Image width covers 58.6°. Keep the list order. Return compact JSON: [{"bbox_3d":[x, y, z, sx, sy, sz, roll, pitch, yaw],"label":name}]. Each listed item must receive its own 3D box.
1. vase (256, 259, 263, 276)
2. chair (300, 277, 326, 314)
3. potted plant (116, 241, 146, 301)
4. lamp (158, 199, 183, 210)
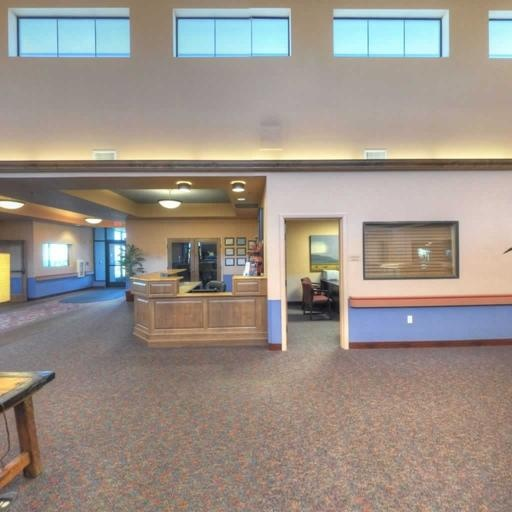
[{"bbox_3d":[0.066,0.191,7.432,0.120,0.255,0.261,-1,4,2],"label":"vase"},{"bbox_3d":[1.210,0.852,9.348,0.515,0.748,1.327,0,4,7],"label":"chair"},{"bbox_3d":[-3.297,0.391,12.179,0.637,1.478,1.598,-3,5,-23],"label":"potted plant"},{"bbox_3d":[-1.654,-0.987,8.968,0.529,0.143,0.507,1,4,-3],"label":"lamp"}]
